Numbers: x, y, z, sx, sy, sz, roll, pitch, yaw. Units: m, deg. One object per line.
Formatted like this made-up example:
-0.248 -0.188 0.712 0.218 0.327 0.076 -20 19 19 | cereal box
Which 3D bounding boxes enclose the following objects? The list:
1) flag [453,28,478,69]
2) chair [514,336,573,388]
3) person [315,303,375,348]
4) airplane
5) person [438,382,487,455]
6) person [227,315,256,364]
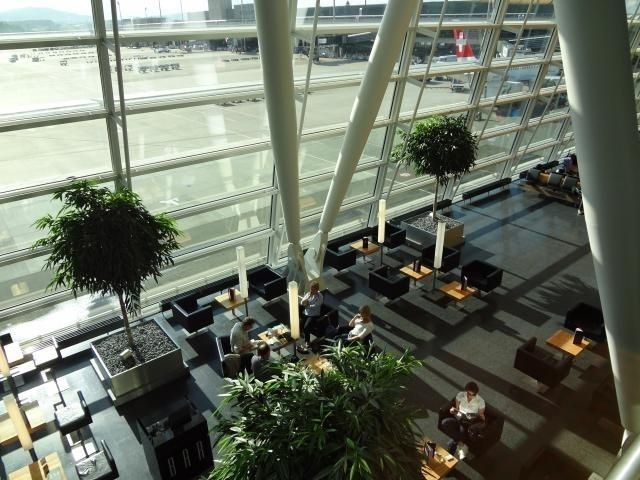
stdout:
4.585 -6.110 13.696 0.800 1.513 0.183 -30 53 3 | flag
4.901 2.558 9.233 1.134 0.625 1.138 -24 33 -39 | chair
0.535 2.002 9.085 1.331 1.111 0.781 -3 13 -14 | person
6.478 -6.322 15.285 4.007 1.340 2.933 -10 48 -5 | airplane
2.425 3.105 7.482 0.812 1.337 0.717 -28 35 -37 | person
-1.639 2.131 8.994 0.583 0.871 0.539 -11 41 -22 | person
